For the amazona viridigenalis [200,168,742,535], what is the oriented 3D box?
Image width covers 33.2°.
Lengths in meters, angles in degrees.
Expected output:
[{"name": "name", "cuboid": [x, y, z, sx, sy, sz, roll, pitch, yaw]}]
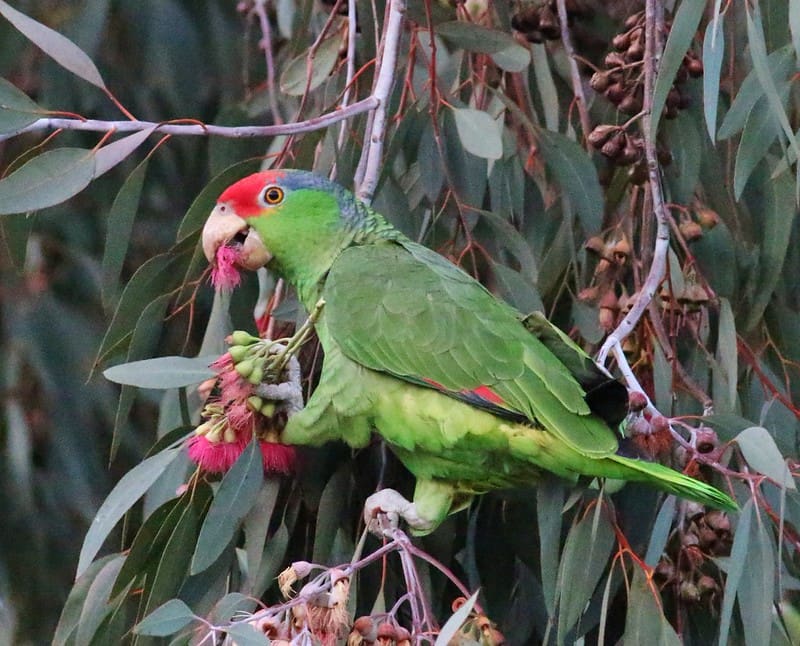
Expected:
[{"name": "amazona viridigenalis", "cuboid": [0.122, 0.053, 2.878, 1.041, 0.383, 0.765, 1, 85, -1]}]
